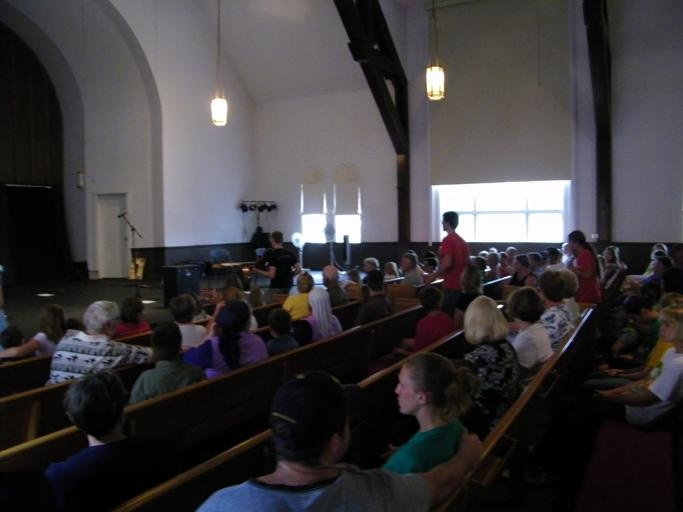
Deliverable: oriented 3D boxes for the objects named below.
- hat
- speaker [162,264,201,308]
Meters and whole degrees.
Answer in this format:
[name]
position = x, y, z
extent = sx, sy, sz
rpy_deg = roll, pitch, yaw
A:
[hat]
position = -0.068, 0.546, 1.852
extent = 0.328, 0.181, 0.225
rpy_deg = -27, 35, -31
[speaker]
position = -2.750, 0.404, 8.991
extent = 0.233, 0.481, 0.440
rpy_deg = 3, 4, 43
